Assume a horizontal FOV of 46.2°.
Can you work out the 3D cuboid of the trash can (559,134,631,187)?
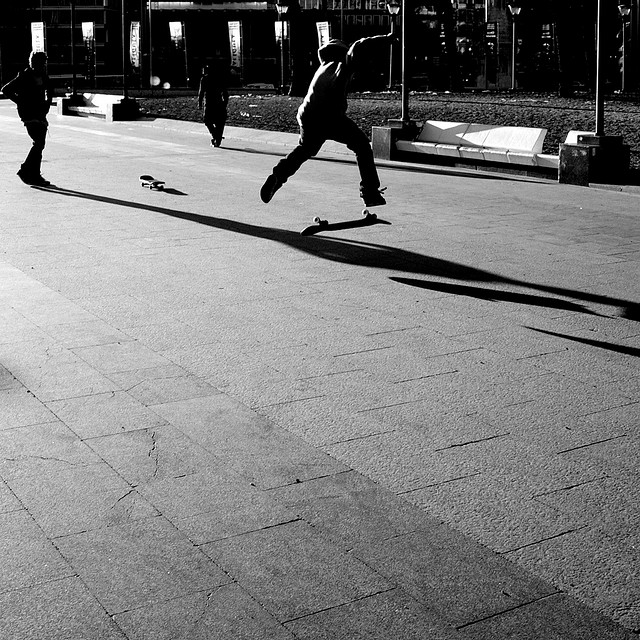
[{"bbox_3d":[5.130,-3.006,14.319,1.049,0.991,1.086,-4,9,-23],"label":"trash can"}]

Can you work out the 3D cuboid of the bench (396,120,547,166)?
[{"bbox_3d":[3.360,-4.053,17.333,3.657,0.989,0.722,16,-1,41],"label":"bench"}]

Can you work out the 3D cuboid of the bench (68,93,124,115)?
[{"bbox_3d":[-10.000,-9.690,33.604,1.333,0.947,4.818,-8,16,-28],"label":"bench"}]

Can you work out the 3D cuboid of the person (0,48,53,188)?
[{"bbox_3d":[-5.140,-3.596,13.420,0.805,2.347,0.925,-5,14,-19],"label":"person"}]
